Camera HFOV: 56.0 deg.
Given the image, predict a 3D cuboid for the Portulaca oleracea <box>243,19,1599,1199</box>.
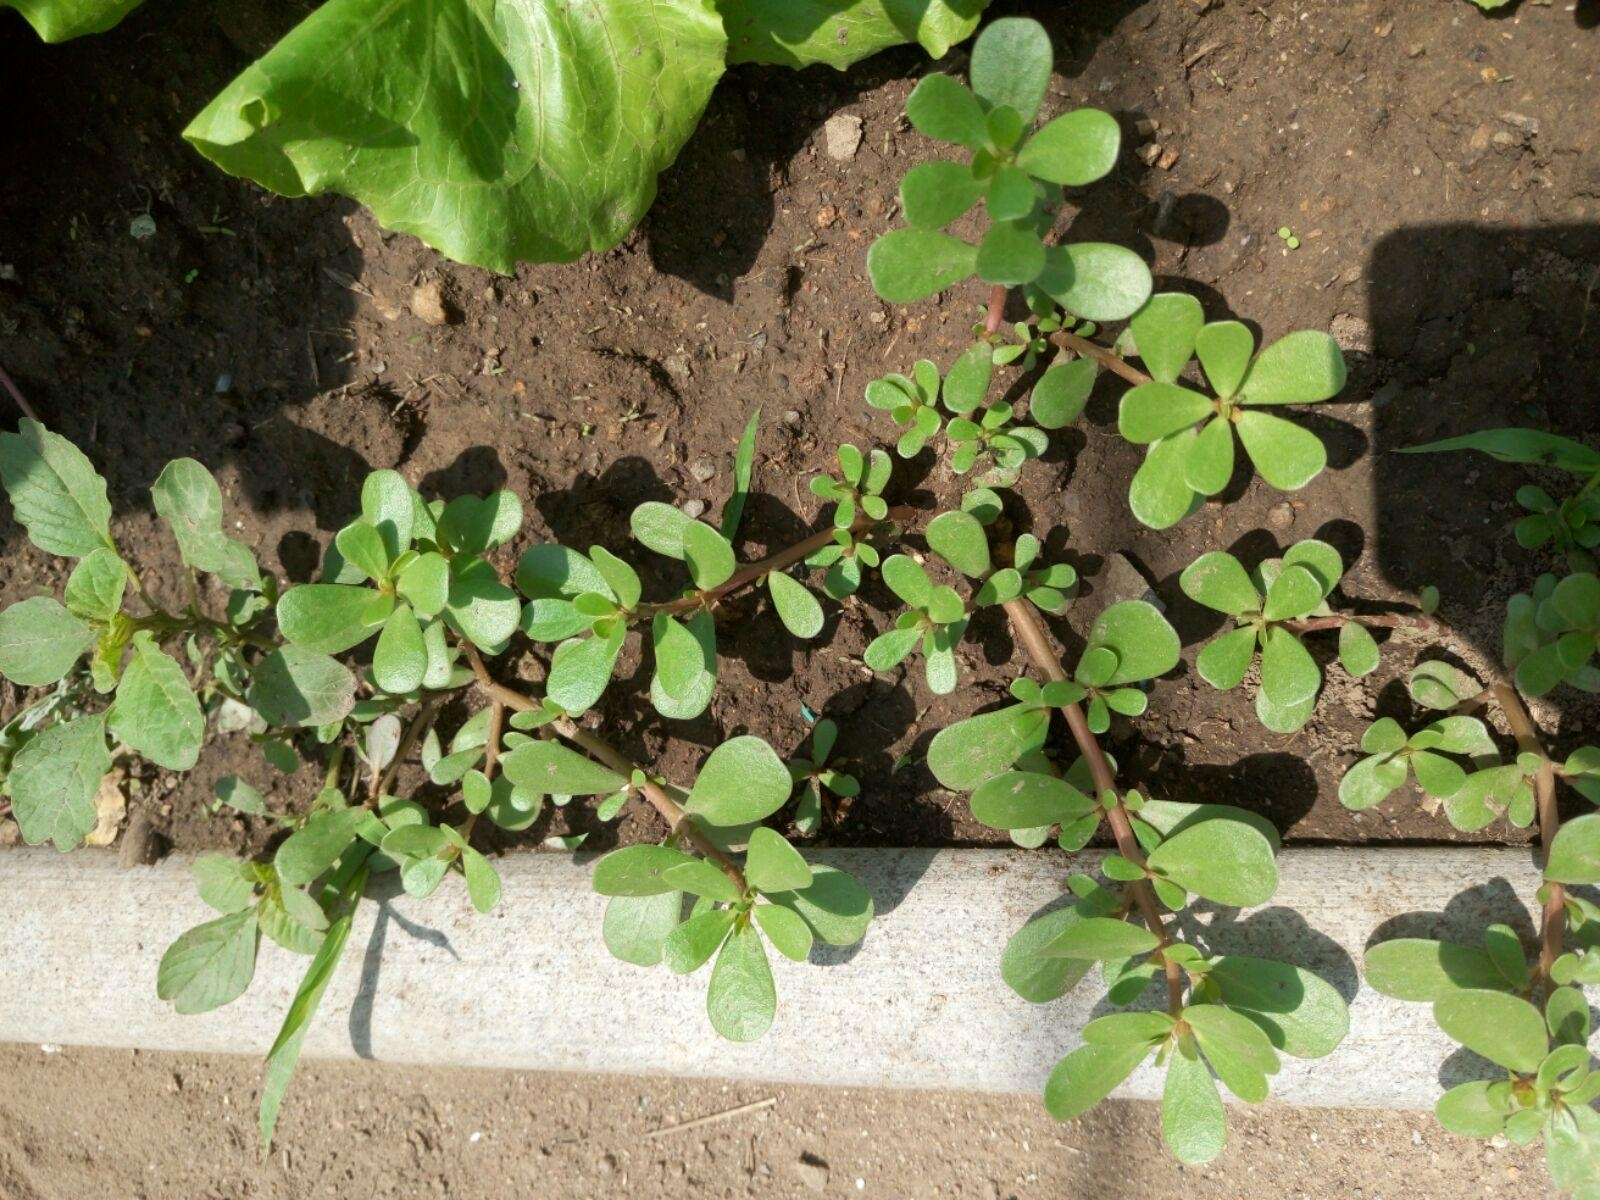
[{"bbox_3d":[0.255,0.267,2.969,1.643,2.181,0.482,40,28,-11],"label":"Portulaca oleracea"}]
